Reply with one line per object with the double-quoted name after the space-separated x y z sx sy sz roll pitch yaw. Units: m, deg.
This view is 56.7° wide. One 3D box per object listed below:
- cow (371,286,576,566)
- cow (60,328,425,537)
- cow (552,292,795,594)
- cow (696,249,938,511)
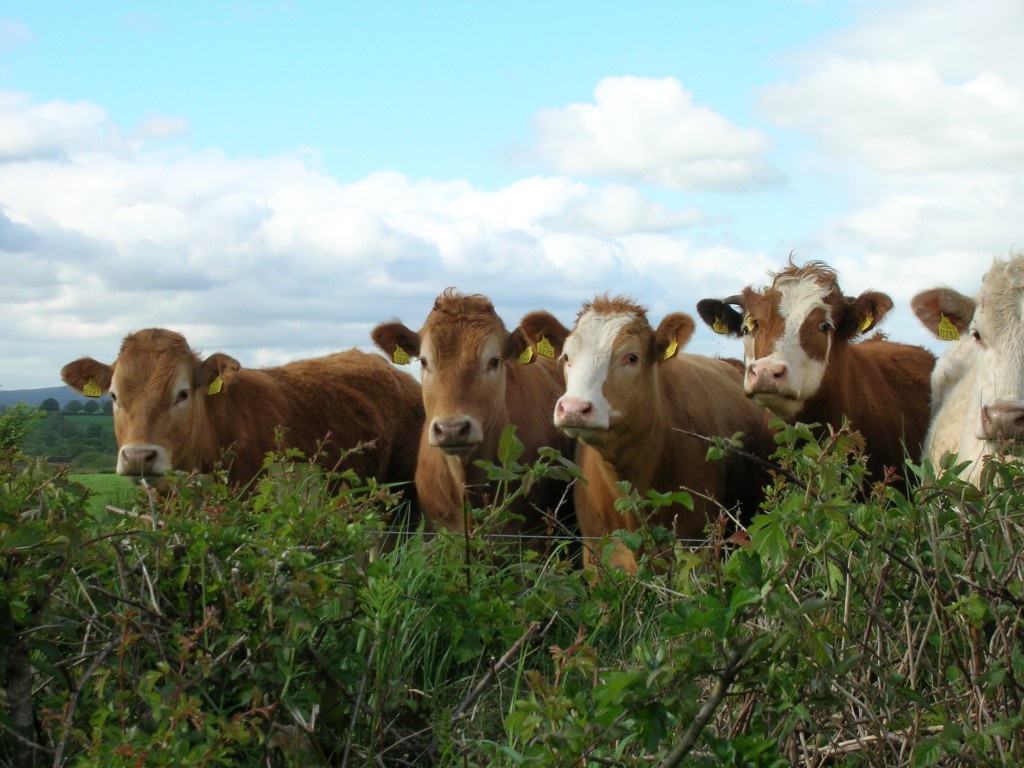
-0.240 0.266 7.234 1.433 1.911 1.361 0 1 2 "cow"
-1.987 0.403 7.208 2.711 1.550 1.047 12 -18 -34 "cow"
1.077 0.253 6.927 1.966 1.762 1.063 -1 1 -38 "cow"
2.773 0.314 8.030 1.293 2.105 3.293 -4 -9 39 "cow"
